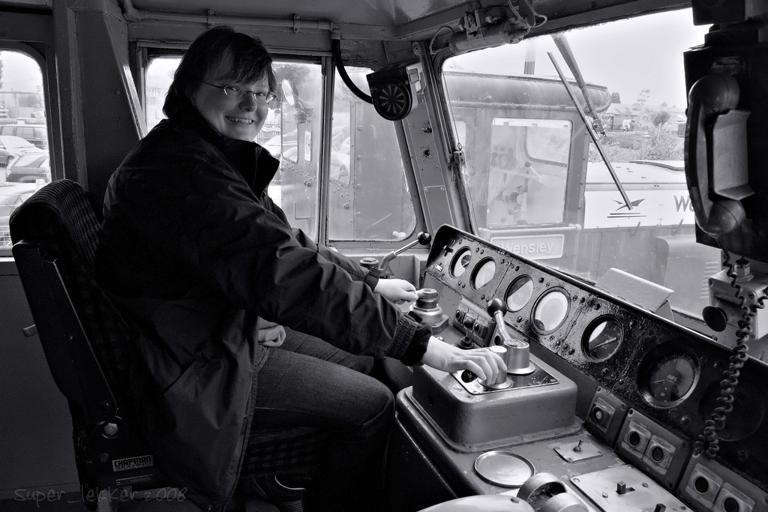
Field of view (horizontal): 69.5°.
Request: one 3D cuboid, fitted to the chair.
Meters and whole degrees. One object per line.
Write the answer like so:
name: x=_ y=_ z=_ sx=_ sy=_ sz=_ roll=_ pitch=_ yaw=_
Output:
chair: x=-0.773 y=0.240 z=2.633 sx=1.256 sy=1.476 sz=0.992 roll=-3 pitch=8 yaw=-17
